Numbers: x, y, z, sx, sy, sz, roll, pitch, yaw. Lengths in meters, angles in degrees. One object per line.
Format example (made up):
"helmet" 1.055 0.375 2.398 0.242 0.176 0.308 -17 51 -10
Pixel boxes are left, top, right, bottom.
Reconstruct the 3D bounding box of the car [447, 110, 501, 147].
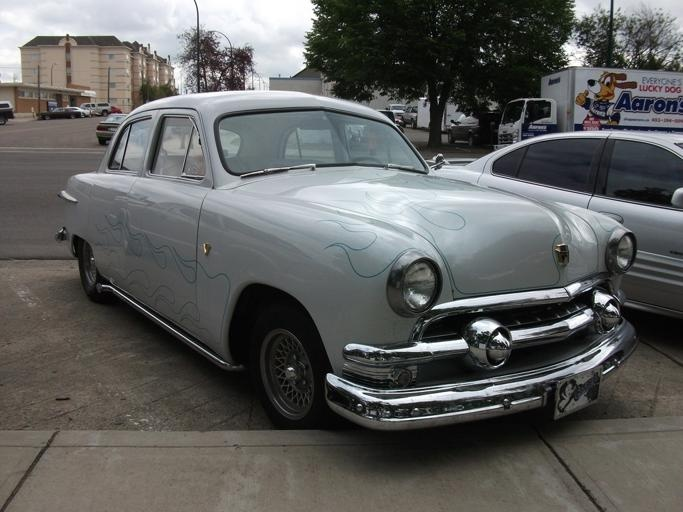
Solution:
"car" 9.484 -8.866 32.583 2.353 1.866 3.998 -5 18 -16
